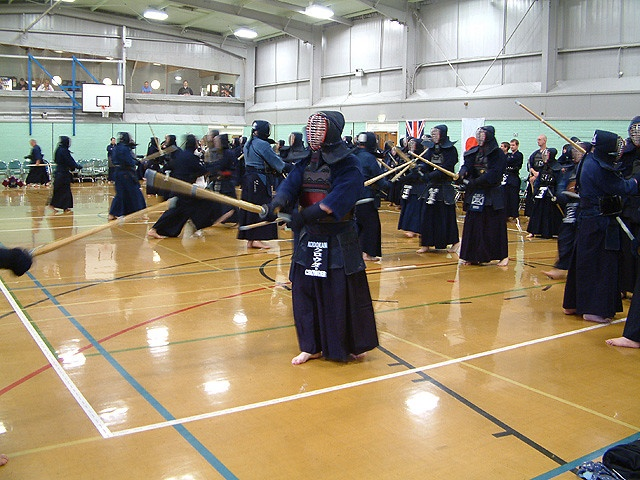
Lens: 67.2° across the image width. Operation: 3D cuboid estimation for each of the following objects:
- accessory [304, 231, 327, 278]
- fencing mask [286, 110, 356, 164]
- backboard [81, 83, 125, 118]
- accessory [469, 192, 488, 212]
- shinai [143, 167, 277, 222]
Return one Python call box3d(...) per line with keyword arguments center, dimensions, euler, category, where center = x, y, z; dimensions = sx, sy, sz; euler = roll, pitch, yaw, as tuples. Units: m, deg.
box3d(center=(-0.036, 0.154, 4.140), dimensions=(0.205, 0.294, 0.139), euler=(5, 14, 14), category="accessory")
box3d(center=(0.052, -0.834, 4.348), dimensions=(0.483, 0.459, 0.660), euler=(-12, 12, -41), category="fencing mask")
box3d(center=(-9.904, -6.459, 22.363), dimensions=(1.939, 1.345, 0.735), euler=(-11, 32, -40), category="backboard")
box3d(center=(2.505, -0.603, 7.670), dimensions=(0.052, 0.421, 0.355), euler=(25, -12, -39), category="accessory")
box3d(center=(-0.907, -0.362, 3.718), dimensions=(0.827, 0.096, 0.130), euler=(14, -19, -39), category="shinai")
